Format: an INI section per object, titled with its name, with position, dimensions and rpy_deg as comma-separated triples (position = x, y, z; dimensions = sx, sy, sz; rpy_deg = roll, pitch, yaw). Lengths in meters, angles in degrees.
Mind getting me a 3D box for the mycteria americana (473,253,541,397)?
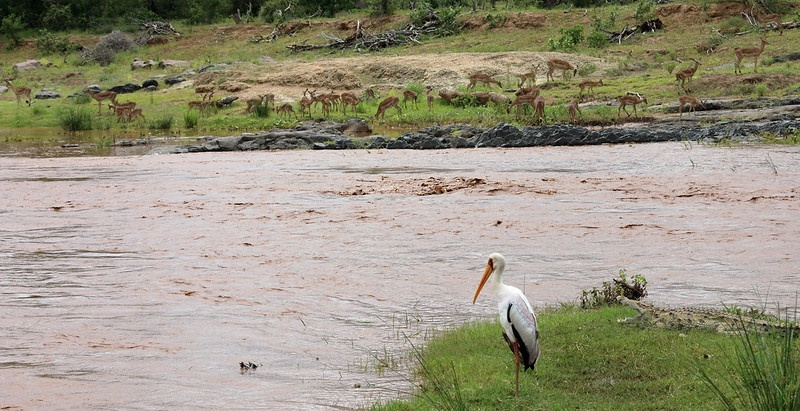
[mycteria americana]
position = 6.332, 6.932, 72.858
dimensions = 3.443, 8.213, 2.452
rpy_deg = 2, 7, 37
